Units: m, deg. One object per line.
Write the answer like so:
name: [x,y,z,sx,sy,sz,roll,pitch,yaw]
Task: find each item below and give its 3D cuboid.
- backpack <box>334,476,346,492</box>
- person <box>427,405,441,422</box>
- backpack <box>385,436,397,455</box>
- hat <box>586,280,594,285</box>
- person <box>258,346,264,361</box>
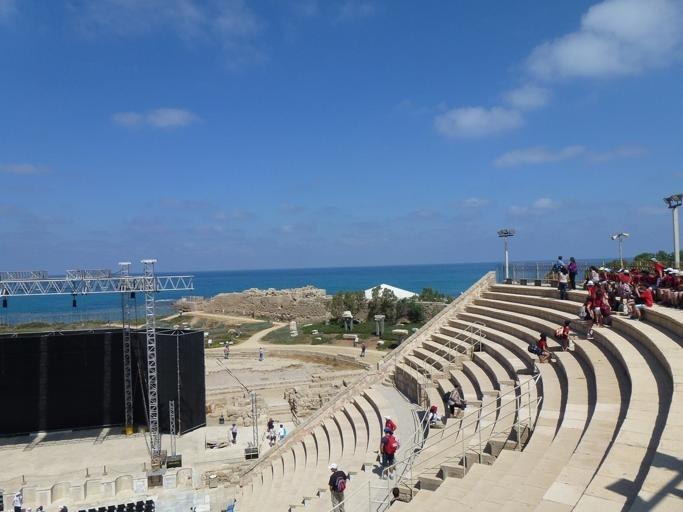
backpack: [0.018,7.769,20.422,0.300,0.509,0.227,-3,-1,-4]
person: [3.926,6.498,24.896,0.637,0.824,0.562,-3,-1,5]
backpack: [1.917,6.940,22.010,0.553,0.649,0.306,-3,-1,-22]
hat: [11.784,1.246,27.973,0.281,0.080,0.273,-19,10,-26]
person: [-6.993,8.614,52.728,0.433,1.306,0.487,-3,26,-6]
